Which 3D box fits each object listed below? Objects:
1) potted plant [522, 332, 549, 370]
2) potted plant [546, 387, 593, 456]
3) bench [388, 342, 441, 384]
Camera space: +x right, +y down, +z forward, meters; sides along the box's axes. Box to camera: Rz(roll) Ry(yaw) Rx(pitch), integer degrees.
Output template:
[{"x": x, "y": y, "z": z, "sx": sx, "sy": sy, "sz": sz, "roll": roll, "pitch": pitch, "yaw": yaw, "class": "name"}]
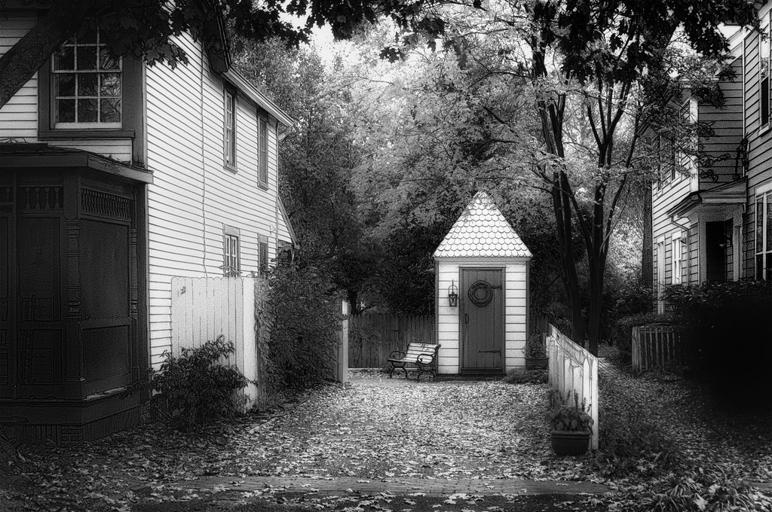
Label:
[{"x": 5.033, "y": 3.161, "z": 25.585, "sx": 0.761, "sy": 1.124, "sz": 0.964, "roll": -1, "pitch": -1, "yaw": 42, "class": "potted plant"}, {"x": 3.338, "y": 3.128, "z": 14.316, "sx": 0.744, "sy": 1.213, "sz": 0.785, "roll": -2, "pitch": -10, "yaw": -3, "class": "potted plant"}, {"x": 0.952, "y": 3.676, "z": 26.761, "sx": 0.885, "sy": 1.360, "sz": 1.974, "roll": 6, "pitch": -6, "yaw": -27, "class": "bench"}]
